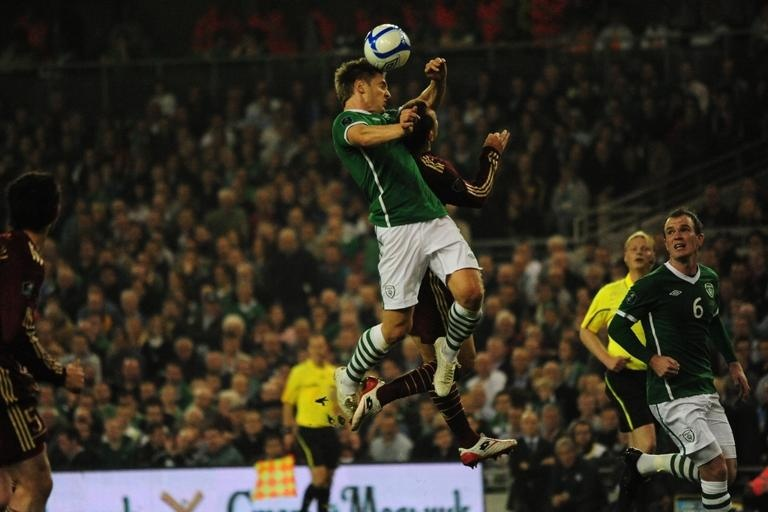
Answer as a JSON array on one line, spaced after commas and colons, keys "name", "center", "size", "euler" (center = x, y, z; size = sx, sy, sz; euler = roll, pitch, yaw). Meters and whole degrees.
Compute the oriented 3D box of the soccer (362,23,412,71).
[{"name": "soccer", "center": [0.017, -2.571, 19.638], "size": [0.536, 0.502, 0.657], "euler": [-1, 3, 30]}]
